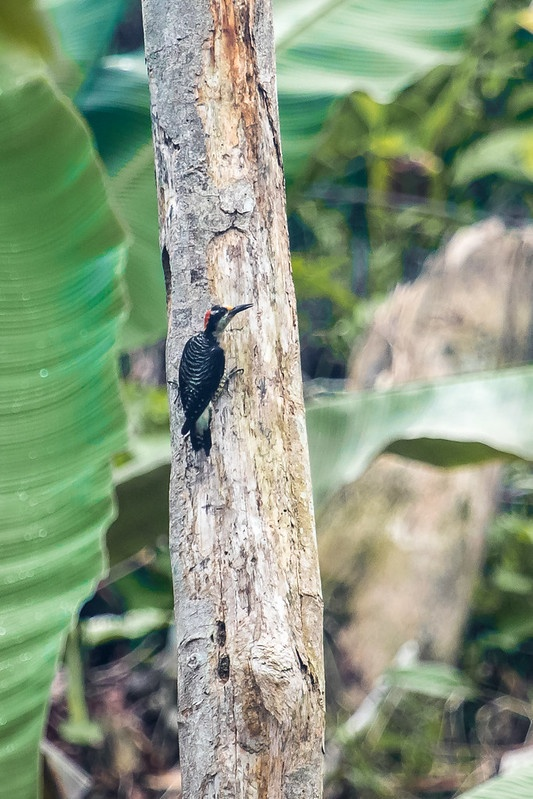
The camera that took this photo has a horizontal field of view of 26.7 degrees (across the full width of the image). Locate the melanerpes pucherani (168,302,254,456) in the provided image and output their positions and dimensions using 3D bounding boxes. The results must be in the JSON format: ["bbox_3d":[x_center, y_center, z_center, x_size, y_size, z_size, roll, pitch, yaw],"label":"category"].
[{"bbox_3d":[-0.176,-0.069,3.842,0.274,0.554,0.252,-22,35,-33],"label":"melanerpes pucherani"}]
